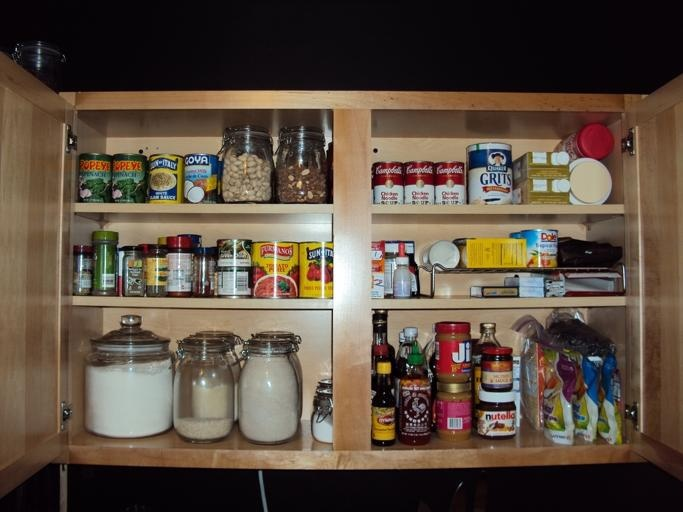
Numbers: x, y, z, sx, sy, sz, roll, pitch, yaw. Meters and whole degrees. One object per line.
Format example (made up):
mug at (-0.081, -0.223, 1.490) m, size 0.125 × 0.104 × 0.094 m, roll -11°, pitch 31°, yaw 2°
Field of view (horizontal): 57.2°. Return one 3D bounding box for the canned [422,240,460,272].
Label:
canned at (0.304, 0.002, 1.941) m, size 0.097 × 0.085 × 0.100 m, roll 5°, pitch -4°, yaw -4°

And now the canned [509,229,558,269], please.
canned at (0.580, -0.022, 1.920) m, size 0.134 × 0.107 × 0.113 m, roll 1°, pitch 0°, yaw 0°

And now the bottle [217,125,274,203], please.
bottle at (-0.275, -0.263, 1.824) m, size 0.154 × 0.229 × 0.145 m, roll 1°, pitch 7°, yaw 0°

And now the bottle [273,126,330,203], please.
bottle at (-0.123, -0.263, 1.867) m, size 0.160 × 0.222 × 0.145 m, roll 1°, pitch 7°, yaw -5°

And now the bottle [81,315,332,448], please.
bottle at (-0.465, 0.326, 1.968) m, size 0.559 × 0.380 × 0.440 m, roll 1°, pitch 1°, yaw -7°
